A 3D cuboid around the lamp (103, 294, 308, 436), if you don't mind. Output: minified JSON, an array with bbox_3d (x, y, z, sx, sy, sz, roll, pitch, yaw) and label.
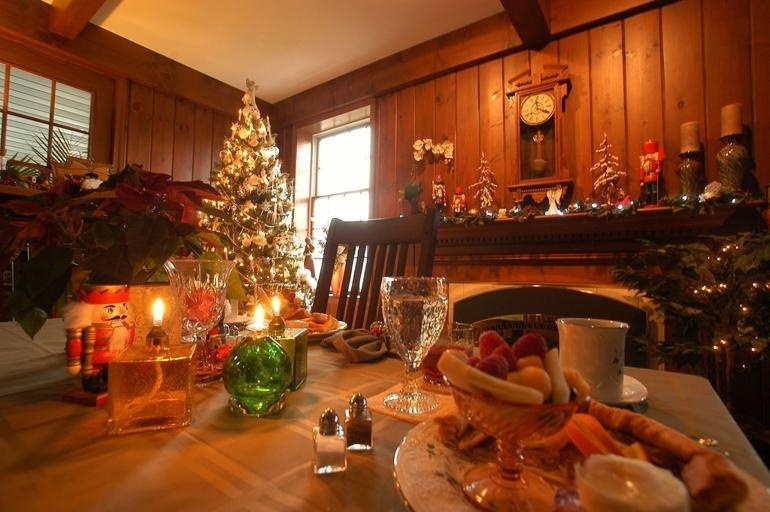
[{"bbox_3d":[-0.516,0.303,1.434,0.397,0.330,0.237,2,-5,-15],"label":"lamp"}]

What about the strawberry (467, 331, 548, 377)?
[{"bbox_3d":[0.266,0.191,1.141,0.115,0.050,0.117,2,8,44],"label":"strawberry"}]

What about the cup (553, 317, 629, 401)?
[{"bbox_3d":[0.556,0.243,1.386,0.204,0.224,0.206,1,-1,0],"label":"cup"}]

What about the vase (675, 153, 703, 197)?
[{"bbox_3d":[1.741,-0.470,2.910,0.131,0.279,0.301,0,-2,32],"label":"vase"}]

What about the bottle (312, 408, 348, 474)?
[{"bbox_3d":[-0.128,0.431,1.209,0.078,0.134,0.087,1,-1,-7],"label":"bottle"}]
